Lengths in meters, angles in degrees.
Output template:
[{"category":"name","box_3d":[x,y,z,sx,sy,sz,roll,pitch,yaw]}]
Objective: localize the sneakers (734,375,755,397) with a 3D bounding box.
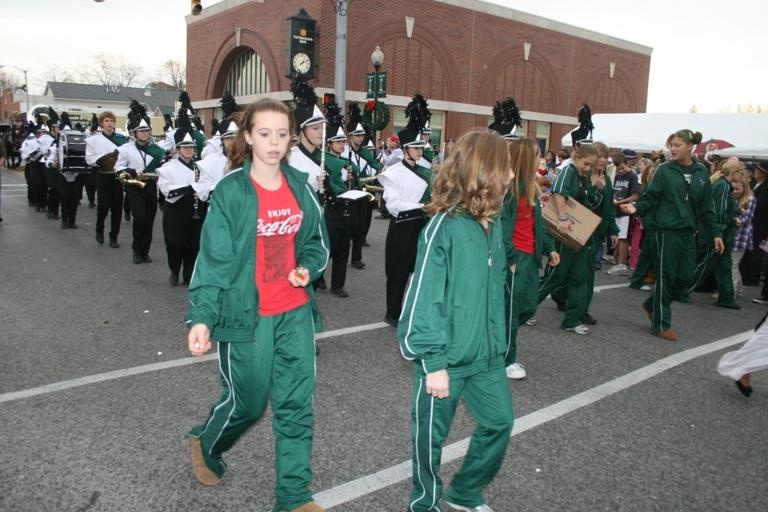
[{"category":"sneakers","box_3d":[3.800,1.379,6.133,0.102,0.314,0.174,-21,-4,42]}]

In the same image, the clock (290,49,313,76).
[{"category":"clock","box_3d":[-3.172,-7.499,22.436,0.739,0.789,0.387,-1,12,-16]}]

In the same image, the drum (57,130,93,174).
[{"category":"drum","box_3d":[-7.650,-2.680,14.285,0.607,1.044,1.064,0,35,-29]}]
